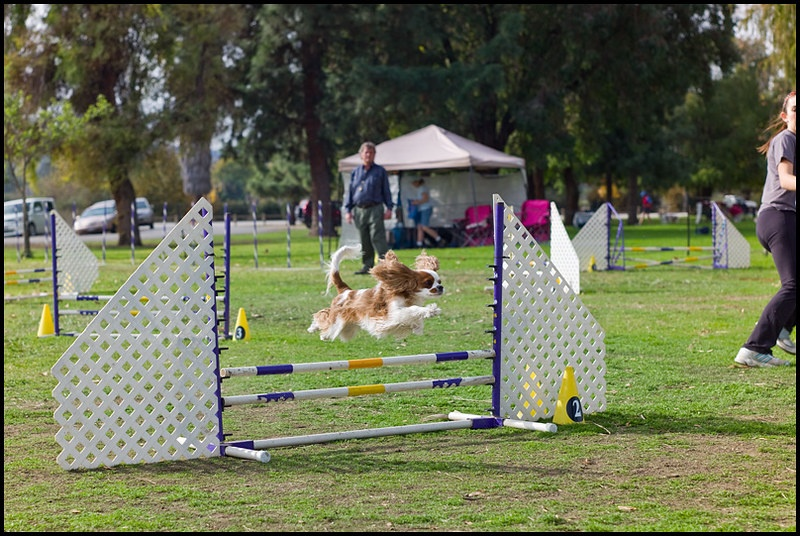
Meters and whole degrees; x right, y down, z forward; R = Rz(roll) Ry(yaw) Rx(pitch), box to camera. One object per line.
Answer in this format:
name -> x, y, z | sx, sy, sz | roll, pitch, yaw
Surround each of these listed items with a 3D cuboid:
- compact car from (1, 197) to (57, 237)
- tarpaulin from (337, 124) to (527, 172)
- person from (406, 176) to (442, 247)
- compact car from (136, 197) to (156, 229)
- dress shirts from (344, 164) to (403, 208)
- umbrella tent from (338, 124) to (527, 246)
compact car -> -11.039, -1.556, 44.578 | 1.519, 1.185, 2.195 | -1, 0, 9
tarpaulin -> 0.906, -3.712, 47.014 | 5.512, 1.547, 5.903 | 0, 2, 39
person -> 0.725, -1.761, 47.574 | 0.975, 1.558, 2.339 | -2, 1, 3
compact car -> -11.197, -2.463, 65.747 | 0.659, 1.111, 5.613 | -2, 2, -10
dress shirts -> -0.801, -2.048, 37.643 | 1.213, 0.856, 0.601 | -2, 1, 8
umbrella tent -> 1.417, -3.483, 47.058 | 4.394, 3.494, 4.435 | -2, 0, -15
